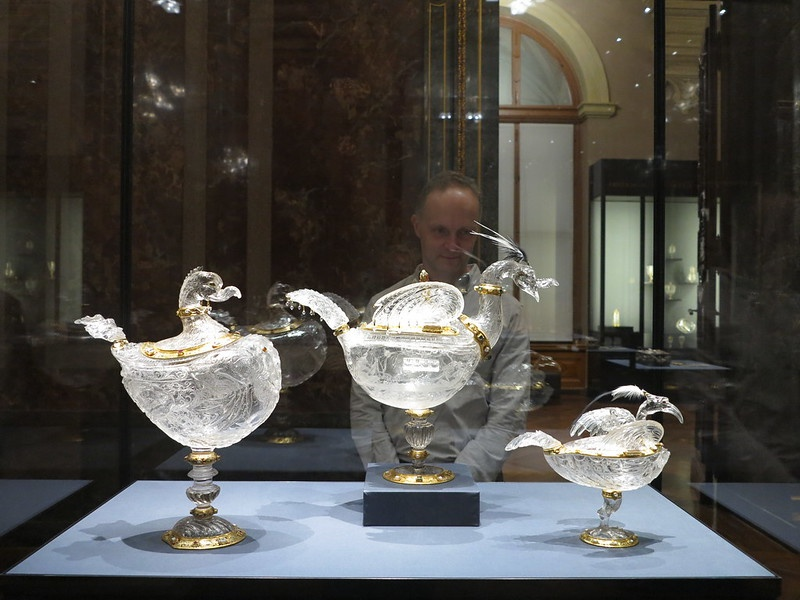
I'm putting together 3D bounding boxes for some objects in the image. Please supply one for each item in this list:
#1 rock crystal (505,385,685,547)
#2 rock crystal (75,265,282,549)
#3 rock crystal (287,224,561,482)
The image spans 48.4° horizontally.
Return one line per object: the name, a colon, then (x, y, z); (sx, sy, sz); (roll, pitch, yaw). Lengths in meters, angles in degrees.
rock crystal: (0.686, 0.546, 3.043); (0.412, 0.486, 0.529); (5, 8, 40)
rock crystal: (-0.704, 0.347, 2.943); (0.616, 0.884, 0.225); (-1, 7, -5)
rock crystal: (0.018, 0.219, 3.235); (1.137, 0.823, 0.542); (-3, -3, -10)
